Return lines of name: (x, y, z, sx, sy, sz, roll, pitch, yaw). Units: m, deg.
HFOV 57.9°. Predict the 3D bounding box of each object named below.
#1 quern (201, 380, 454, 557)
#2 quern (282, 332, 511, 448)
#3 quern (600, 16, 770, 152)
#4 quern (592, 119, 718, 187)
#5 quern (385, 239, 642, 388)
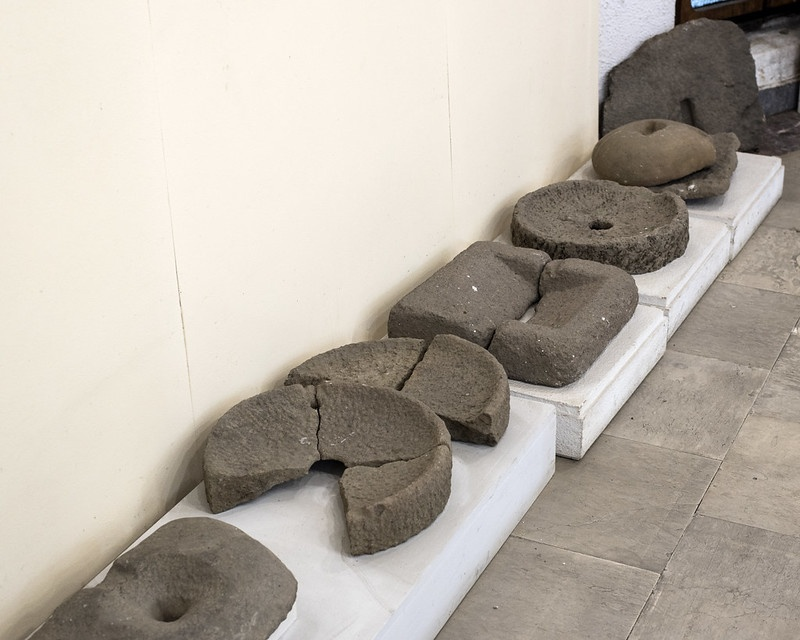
quern: (-0.187, 0.399, 2.024, 0.656, 0.161, 0.579, 17, 30, 33)
quern: (0.024, 0.219, 2.347, 0.713, 0.191, 0.417, 5, 28, 23)
quern: (1.669, -1.396, 4.200, 0.818, 0.820, 0.200, -14, 3, -17)
quern: (1.176, -0.782, 3.383, 0.398, 0.158, 0.428, -3, 33, 12)
quern: (0.448, -0.058, 2.611, 0.604, 0.177, 0.604, 19, 39, 28)
